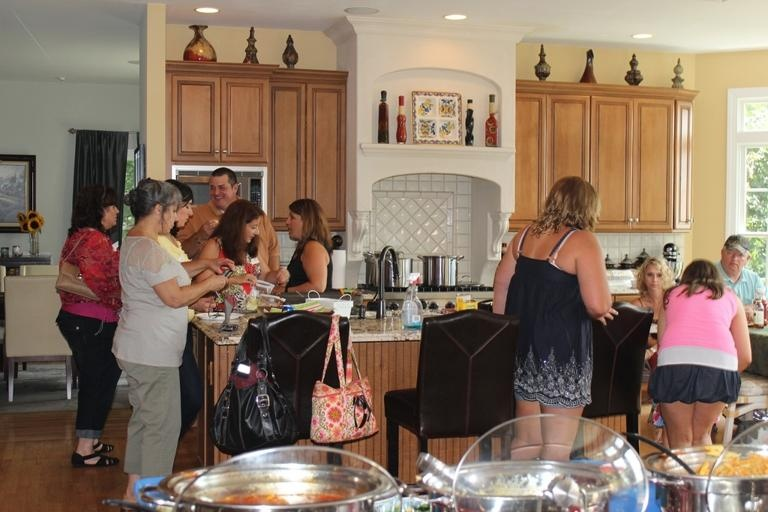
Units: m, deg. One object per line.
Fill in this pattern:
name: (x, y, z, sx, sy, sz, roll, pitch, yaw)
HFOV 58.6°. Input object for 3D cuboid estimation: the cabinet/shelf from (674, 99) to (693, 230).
cabinet/shelf: (3.231, -0.977, 7.410, 0.376, 1.387, 0.090, -10, 9, -35)

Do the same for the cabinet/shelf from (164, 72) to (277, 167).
cabinet/shelf: (-1.570, -1.285, 6.378, 0.951, 0.791, 0.358, 0, 0, -13)

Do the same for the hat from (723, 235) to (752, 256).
hat: (3.012, -0.111, 5.789, 0.188, 0.216, 0.237, 3, -8, 13)

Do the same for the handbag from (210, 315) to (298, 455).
handbag: (-0.582, 0.613, 3.221, 0.365, 0.599, 0.362, -2, 8, 19)

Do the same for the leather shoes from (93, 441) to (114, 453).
leather shoes: (-2.045, 1.388, 4.984, 0.158, 0.047, 0.057, -2, 5, -26)

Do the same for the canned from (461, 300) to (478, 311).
canned: (0.503, 0.295, 4.080, 0.084, 0.081, 0.086, 4, 3, 38)

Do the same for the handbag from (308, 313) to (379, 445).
handbag: (-0.225, 0.609, 3.337, 0.314, 0.613, 0.385, -6, 8, -7)

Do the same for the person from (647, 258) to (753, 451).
person: (1.931, 0.627, 4.189, 0.615, 1.188, 0.417, -3, 8, 16)

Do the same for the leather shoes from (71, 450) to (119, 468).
leather shoes: (-2.000, 1.406, 4.803, 0.324, 0.102, 0.124, 0, 4, -10)

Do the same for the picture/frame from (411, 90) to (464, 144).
picture/frame: (0.508, -1.365, 6.787, 0.568, 0.555, 0.044, 1, -7, -14)

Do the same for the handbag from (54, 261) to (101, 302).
handbag: (-2.055, 0.169, 4.562, 0.319, 0.270, 0.084, -4, 8, 7)
